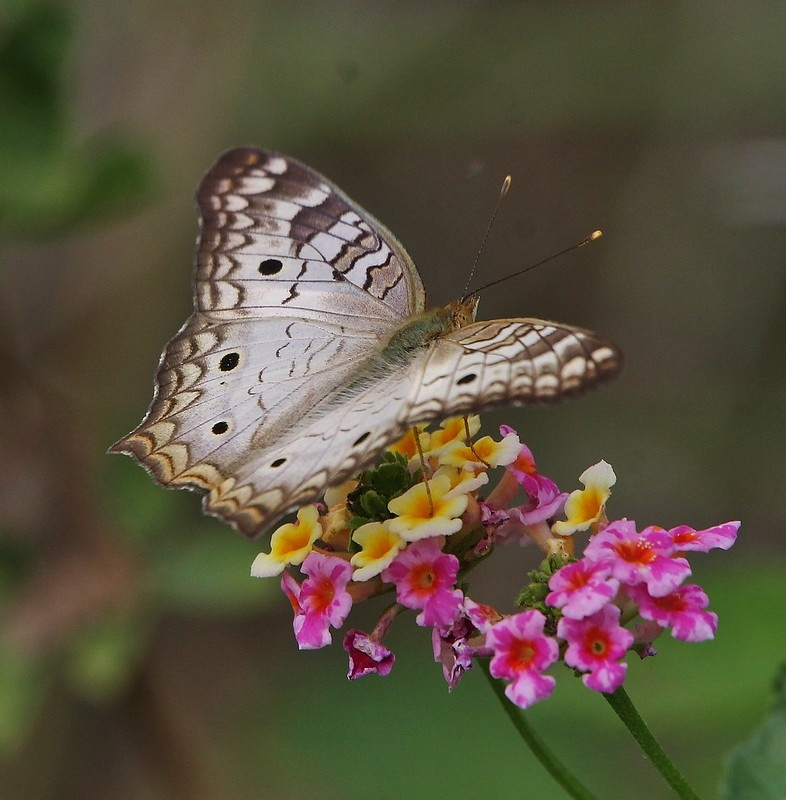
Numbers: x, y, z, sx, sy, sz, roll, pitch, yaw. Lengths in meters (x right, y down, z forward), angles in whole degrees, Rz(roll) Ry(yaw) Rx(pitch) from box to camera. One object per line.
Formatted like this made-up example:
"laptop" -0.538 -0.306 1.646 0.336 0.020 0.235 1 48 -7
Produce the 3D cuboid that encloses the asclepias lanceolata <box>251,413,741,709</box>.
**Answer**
"asclepias lanceolata" 0.131 0.326 2.044 0.896 0.321 0.714 16 44 41
